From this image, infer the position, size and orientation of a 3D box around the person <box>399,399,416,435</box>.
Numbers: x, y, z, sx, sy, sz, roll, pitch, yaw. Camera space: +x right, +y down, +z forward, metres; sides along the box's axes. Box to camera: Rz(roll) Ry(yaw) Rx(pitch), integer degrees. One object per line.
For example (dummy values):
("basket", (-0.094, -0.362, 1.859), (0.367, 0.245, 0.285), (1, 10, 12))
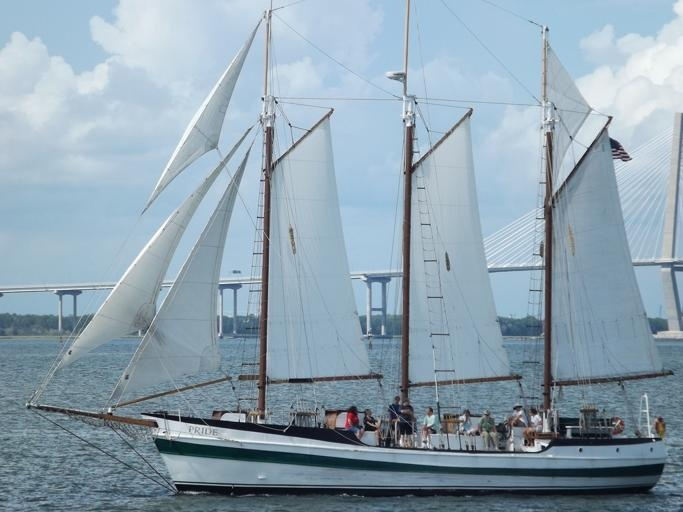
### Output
("person", (3.252, 8.061, 55.758), (0.785, 1.426, 1.346), (1, -6, 5))

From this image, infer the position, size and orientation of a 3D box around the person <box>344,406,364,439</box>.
("person", (0.617, 8.005, 55.125), (0.793, 1.253, 0.908), (3, -7, 4))

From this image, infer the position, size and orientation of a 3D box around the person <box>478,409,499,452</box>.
("person", (7.137, 8.499, 55.169), (0.772, 1.911, 1.496), (-6, -17, 18))

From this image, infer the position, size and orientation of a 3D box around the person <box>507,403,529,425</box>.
("person", (8.832, 8.066, 56.882), (0.859, 1.262, 1.481), (2, 1, 42))

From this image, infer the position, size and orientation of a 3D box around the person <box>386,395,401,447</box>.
("person", (2.767, 8.089, 55.606), (0.479, 2.442, 0.648), (-8, 10, -23))
